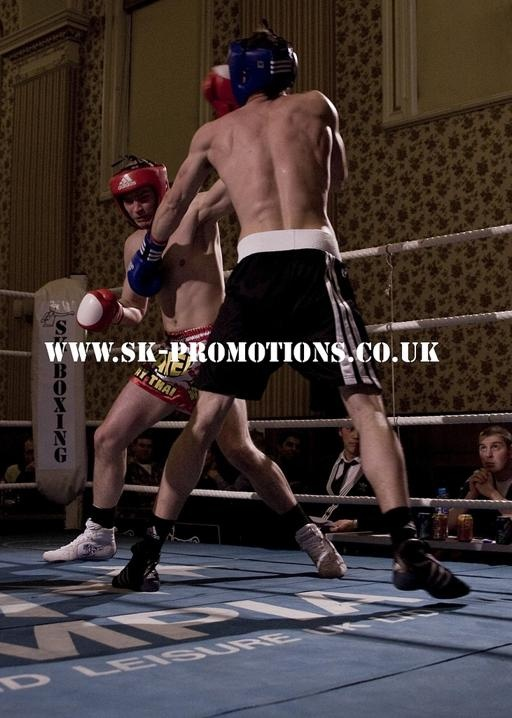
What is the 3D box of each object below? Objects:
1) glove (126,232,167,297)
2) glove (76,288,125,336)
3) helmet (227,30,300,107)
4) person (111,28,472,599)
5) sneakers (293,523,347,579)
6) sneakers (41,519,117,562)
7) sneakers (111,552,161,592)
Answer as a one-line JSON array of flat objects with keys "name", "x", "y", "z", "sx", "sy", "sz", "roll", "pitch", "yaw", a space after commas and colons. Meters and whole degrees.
[{"name": "glove", "x": -0.249, "y": -0.215, "z": 1.631, "sx": 0.088, "sy": 0.073, "sz": 0.186, "roll": -2, "pitch": -40, "yaw": -15}, {"name": "glove", "x": -0.380, "y": -0.118, "z": 1.759, "sx": 0.088, "sy": 0.090, "sz": 0.114, "roll": 28, "pitch": 11, "yaw": 0}, {"name": "helmet", "x": 0.012, "y": -0.552, "z": 1.365, "sx": 0.153, "sy": 0.129, "sz": 0.123, "roll": 18, "pitch": 22, "yaw": 40}, {"name": "person", "x": 0.042, "y": -0.086, "z": 1.336, "sx": 0.743, "sy": 1.128, "sz": 0.252, "roll": -1, "pitch": -2, "yaw": 44}, {"name": "sneakers", "x": 0.178, "y": 0.438, "z": 1.720, "sx": 0.087, "sy": 0.147, "sz": 0.152, "roll": -43, "pitch": -11, "yaw": -1}, {"name": "sneakers", "x": -0.444, "y": 0.496, "z": 1.943, "sx": 0.256, "sy": 0.137, "sz": 0.084, "roll": 1, "pitch": -7, "yaw": 1}, {"name": "sneakers", "x": -0.237, "y": 0.448, "z": 1.491, "sx": 0.127, "sy": 0.081, "sz": 0.049, "roll": 1, "pitch": -14, "yaw": 36}]
